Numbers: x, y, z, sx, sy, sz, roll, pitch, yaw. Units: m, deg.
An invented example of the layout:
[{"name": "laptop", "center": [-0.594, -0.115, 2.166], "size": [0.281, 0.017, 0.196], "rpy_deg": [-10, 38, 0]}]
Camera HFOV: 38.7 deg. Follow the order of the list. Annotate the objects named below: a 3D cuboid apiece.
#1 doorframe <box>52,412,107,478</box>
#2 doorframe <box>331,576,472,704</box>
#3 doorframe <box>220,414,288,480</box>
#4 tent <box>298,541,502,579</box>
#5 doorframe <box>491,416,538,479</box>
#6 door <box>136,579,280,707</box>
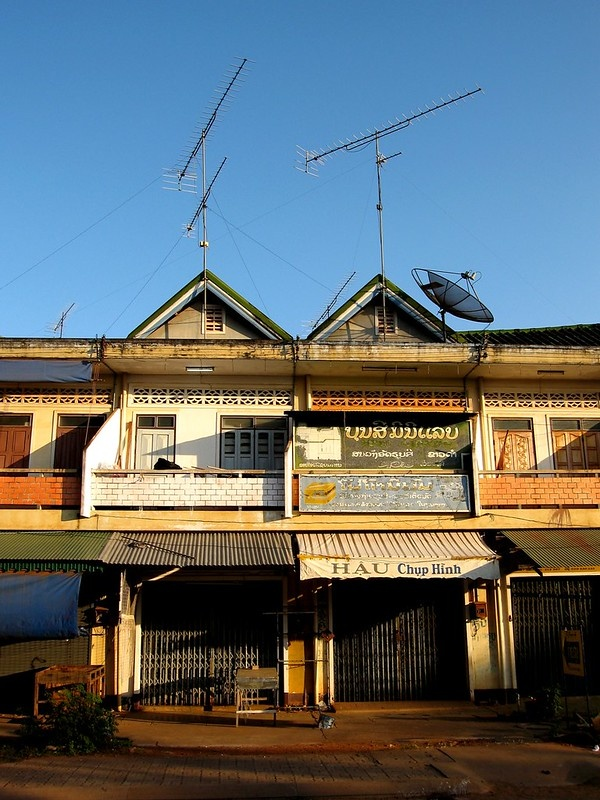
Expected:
[{"name": "doorframe", "center": [-4.288, 0.910, 16.516], "size": [1.349, 1.598, 0.166], "rpy_deg": [1, -27, 0]}, {"name": "doorframe", "center": [1.919, 4.766, 16.674], "size": [2.989, 2.708, 0.309], "rpy_deg": [2, -27, -5]}, {"name": "doorframe", "center": [-0.987, 0.979, 17.140], "size": [1.309, 1.190, 0.053], "rpy_deg": [-1, -12, 0]}, {"name": "tent", "center": [1.645, 2.818, 14.453], "size": [3.313, 0.371, 0.421], "rpy_deg": [1, -9, 1]}, {"name": "doorframe", "center": [4.430, 1.035, 17.809], "size": [1.232, 1.657, 0.168], "rpy_deg": [2, -20, -9]}, {"name": "door", "center": [-1.797, 4.662, 16.092], "size": [2.883, 2.436, 0.248], "rpy_deg": [0, -38, -5]}]
